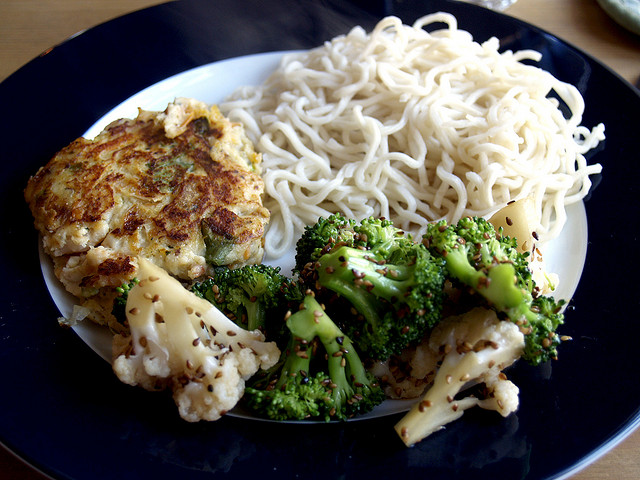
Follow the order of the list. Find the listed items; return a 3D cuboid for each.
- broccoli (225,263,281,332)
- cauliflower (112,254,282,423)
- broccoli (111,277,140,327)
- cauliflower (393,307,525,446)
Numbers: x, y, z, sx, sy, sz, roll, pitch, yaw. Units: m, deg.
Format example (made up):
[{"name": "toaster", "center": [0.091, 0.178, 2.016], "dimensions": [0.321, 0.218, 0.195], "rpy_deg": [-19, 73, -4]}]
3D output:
[{"name": "broccoli", "center": [-0.364, 0.298, 3.381], "dimensions": [0.295, 0.335, 0.376], "rpy_deg": [1, 52, 1]}, {"name": "cauliflower", "center": [-0.679, 0.609, 3.100], "dimensions": [0.829, 0.436, 0.568], "rpy_deg": [23, 65, 8]}, {"name": "broccoli", "center": [-1.115, 0.362, 3.346], "dimensions": [0.122, 0.223, 0.277], "rpy_deg": [14, 66, -10]}, {"name": "cauliflower", "center": [0.721, 0.706, 3.119], "dimensions": [0.721, 0.446, 0.546], "rpy_deg": [-12, 65, -8]}]
